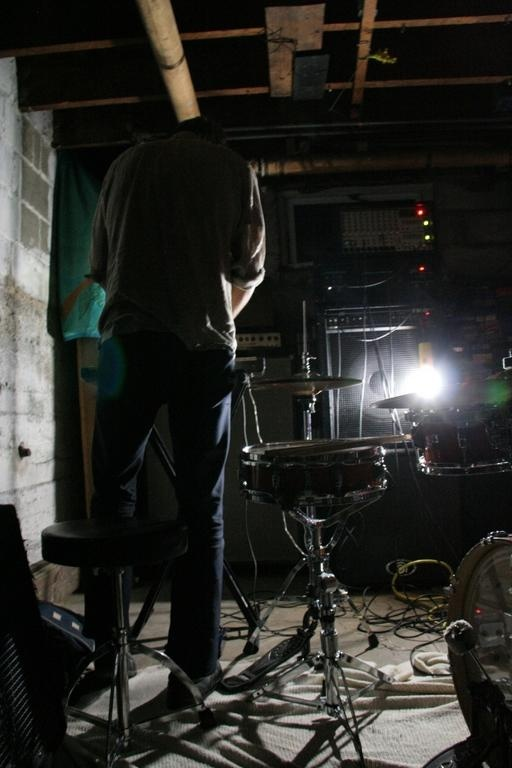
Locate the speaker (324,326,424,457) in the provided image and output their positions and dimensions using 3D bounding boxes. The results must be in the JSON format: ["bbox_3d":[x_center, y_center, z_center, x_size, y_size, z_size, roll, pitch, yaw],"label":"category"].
[{"bbox_3d":[0.612,-0.022,3.883,0.581,0.602,0.148,1,-12,-2],"label":"speaker"}]
